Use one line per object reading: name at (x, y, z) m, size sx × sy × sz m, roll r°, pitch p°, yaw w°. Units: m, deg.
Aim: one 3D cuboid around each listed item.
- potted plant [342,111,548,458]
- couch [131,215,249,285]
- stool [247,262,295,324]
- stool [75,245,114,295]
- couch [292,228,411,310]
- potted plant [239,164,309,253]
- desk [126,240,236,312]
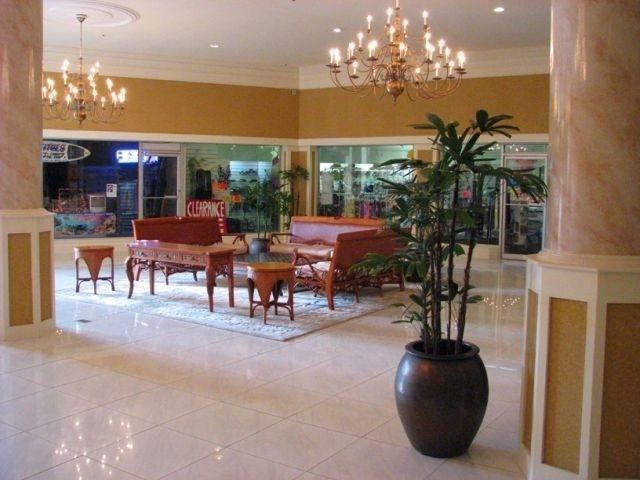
potted plant at (0.948, 0.341, 3.333) m, size 1.355 × 2.308 × 1.332 m, roll 2°, pitch 0°, yaw -27°
couch at (-2.346, 0.175, 9.190) m, size 0.969 × 1.243 × 2.437 m, roll 0°, pitch 3°, yaw 23°
stool at (-0.663, 0.734, 6.568) m, size 0.714 × 0.697 × 0.696 m, roll 0°, pitch -2°, yaw -28°
stool at (-3.864, 0.529, 8.247) m, size 0.679 × 0.730 × 0.669 m, roll 7°, pitch 10°, yaw 25°
couch at (0.573, 0.422, 7.860) m, size 1.038 × 1.073 × 1.855 m, roll 2°, pitch 4°, yaw 43°
potted plant at (-1.139, -0.862, 11.845) m, size 2.006 × 2.004 × 1.069 m, roll 7°, pitch 19°, yaw -1°
desk at (-2.193, 0.519, 7.496) m, size 1.925 × 0.871 × 0.613 m, roll 4°, pitch 6°, yaw 31°
